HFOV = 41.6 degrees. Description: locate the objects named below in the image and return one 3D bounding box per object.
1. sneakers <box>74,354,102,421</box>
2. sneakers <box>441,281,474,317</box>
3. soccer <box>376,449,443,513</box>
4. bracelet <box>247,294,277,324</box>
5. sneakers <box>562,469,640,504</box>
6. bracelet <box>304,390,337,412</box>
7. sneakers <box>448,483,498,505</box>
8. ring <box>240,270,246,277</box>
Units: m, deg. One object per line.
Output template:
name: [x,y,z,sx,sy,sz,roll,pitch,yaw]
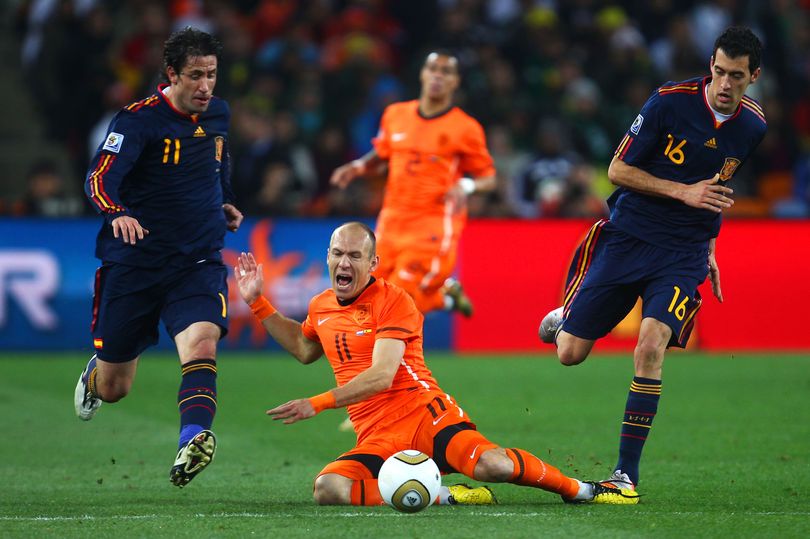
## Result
sneakers: [-2.597,1.013,8.706,0.216,0.627,0.270,0,24,-15]
sneakers: [0.641,0.407,12.557,0.211,0.590,0.262,-27,45,-4]
soccer: [0.029,1.492,7.491,0.510,0.488,0.488,10,-16,-29]
bracelet: [-1.051,0.301,8.067,0.170,0.170,0.212,33,-7,48]
sneakers: [1.416,1.586,7.714,0.542,0.189,0.227,7,45,-6]
bracelet: [-0.595,0.906,7.324,0.200,0.165,0.188,5,9,-24]
sneakers: [0.508,1.620,7.722,0.364,0.133,0.174,3,19,12]
ring: [-1.209,0.030,7.971,0.051,0.048,0.014,12,3,31]
